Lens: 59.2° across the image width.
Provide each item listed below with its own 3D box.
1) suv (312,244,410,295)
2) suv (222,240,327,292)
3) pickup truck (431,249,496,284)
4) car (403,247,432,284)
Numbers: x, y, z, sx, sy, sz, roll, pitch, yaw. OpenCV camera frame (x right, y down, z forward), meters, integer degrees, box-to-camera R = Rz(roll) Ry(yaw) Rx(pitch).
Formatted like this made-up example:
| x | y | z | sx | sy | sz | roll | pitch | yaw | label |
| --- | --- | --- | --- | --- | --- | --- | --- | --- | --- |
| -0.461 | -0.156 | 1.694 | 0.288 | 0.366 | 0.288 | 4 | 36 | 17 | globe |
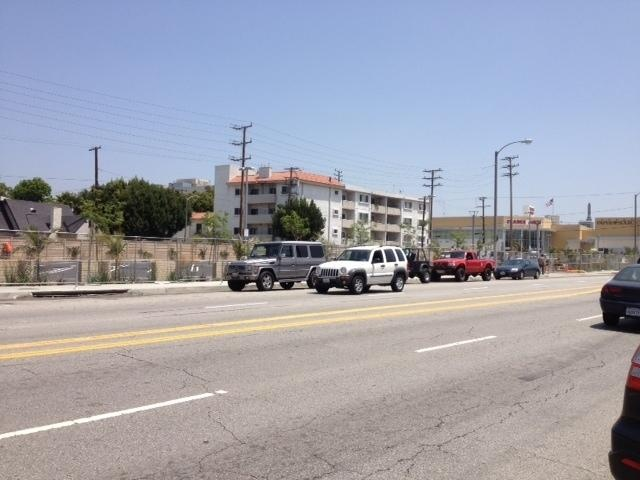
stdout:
| x | y | z | sx | sy | sz | roll | pitch | yaw | label |
| --- | --- | --- | --- | --- | --- | --- | --- | --- | --- |
| 1.736 | 1.299 | 24.499 | 1.995 | 1.588 | 3.548 | -6 | -9 | 40 | suv |
| -2.063 | 1.237 | 26.922 | 2.242 | 1.911 | 4.218 | -8 | -10 | 43 | suv |
| 9.513 | 1.820 | 37.791 | 2.004 | 1.594 | 4.107 | -5 | -8 | 42 | pickup truck |
| 5.895 | 1.611 | 34.741 | 1.338 | 1.468 | 2.311 | -7 | -10 | 37 | car |
